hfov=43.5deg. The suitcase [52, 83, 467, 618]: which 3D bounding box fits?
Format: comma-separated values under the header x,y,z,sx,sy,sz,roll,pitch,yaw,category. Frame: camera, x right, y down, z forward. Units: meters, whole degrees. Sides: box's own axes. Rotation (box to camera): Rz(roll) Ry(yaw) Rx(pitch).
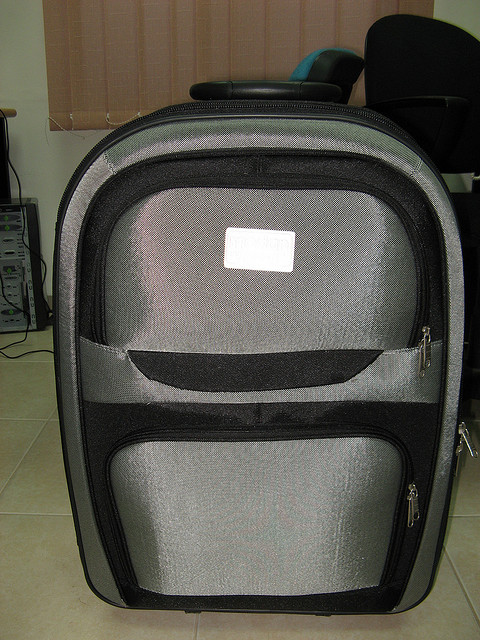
x,y,z,sx,sy,sz,roll,pitch,yaw,category
0.032,0.044,0.784,0.465,0.599,0.326,1,12,5,suitcase
